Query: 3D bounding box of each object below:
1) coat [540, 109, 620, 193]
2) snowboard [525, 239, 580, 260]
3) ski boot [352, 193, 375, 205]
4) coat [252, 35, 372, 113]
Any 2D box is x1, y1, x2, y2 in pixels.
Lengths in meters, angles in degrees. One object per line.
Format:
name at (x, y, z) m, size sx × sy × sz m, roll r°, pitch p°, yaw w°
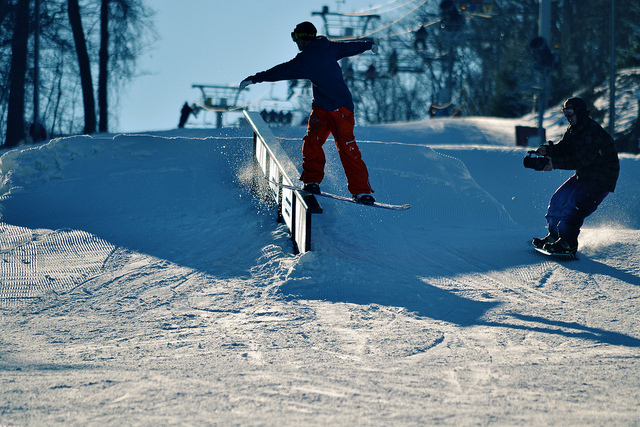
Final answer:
coat at (6.051, -1.454, 24.759) m, size 1.991 × 1.846 × 1.635 m, roll 4°, pitch 17°, yaw 8°
snowboard at (5.387, 0.930, 24.864) m, size 1.366 × 0.404 × 0.244 m, roll 22°, pitch 30°, yaw 34°
ski boot at (1.051, -0.340, 24.502) m, size 0.537 × 0.202 × 0.244 m, roll 8°, pitch 19°, yaw 8°
coat at (0.127, -3.159, 24.674) m, size 3.456 × 1.948 × 0.831 m, roll -22°, pitch 19°, yaw -26°
